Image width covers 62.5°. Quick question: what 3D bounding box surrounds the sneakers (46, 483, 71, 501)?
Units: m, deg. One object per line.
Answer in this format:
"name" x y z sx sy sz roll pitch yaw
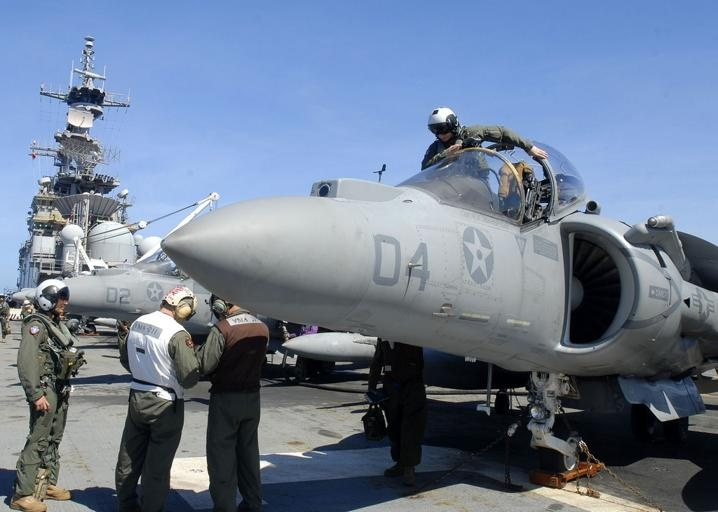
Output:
"sneakers" -3.450 2.770 6.899 0.292 0.105 0.136 2 -2 -2

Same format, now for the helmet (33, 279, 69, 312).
"helmet" -3.792 0.523 7.426 0.440 0.377 0.329 -1 -14 14
